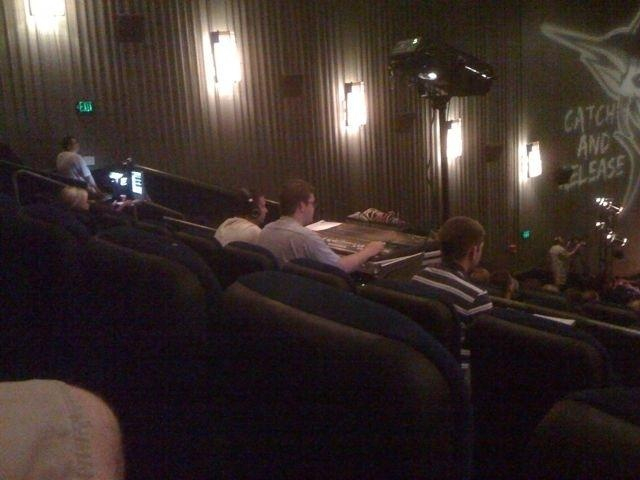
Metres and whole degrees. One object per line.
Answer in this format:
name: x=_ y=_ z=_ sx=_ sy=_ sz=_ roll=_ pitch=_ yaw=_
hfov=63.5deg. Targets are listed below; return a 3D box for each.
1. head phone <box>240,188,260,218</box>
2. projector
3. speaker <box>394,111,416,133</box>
head phone: x=-0.337 y=-0.172 z=2.477 sx=0.048 sy=0.124 sz=0.132 roll=-5 pitch=5 yaw=6
projector: x=0.725 y=-1.030 z=3.070 sx=0.591 sy=0.177 sz=0.439 roll=7 pitch=4 yaw=-31
speaker: x=1.013 y=-1.414 z=6.175 sx=0.256 sy=0.248 sz=0.231 roll=5 pitch=4 yaw=6
